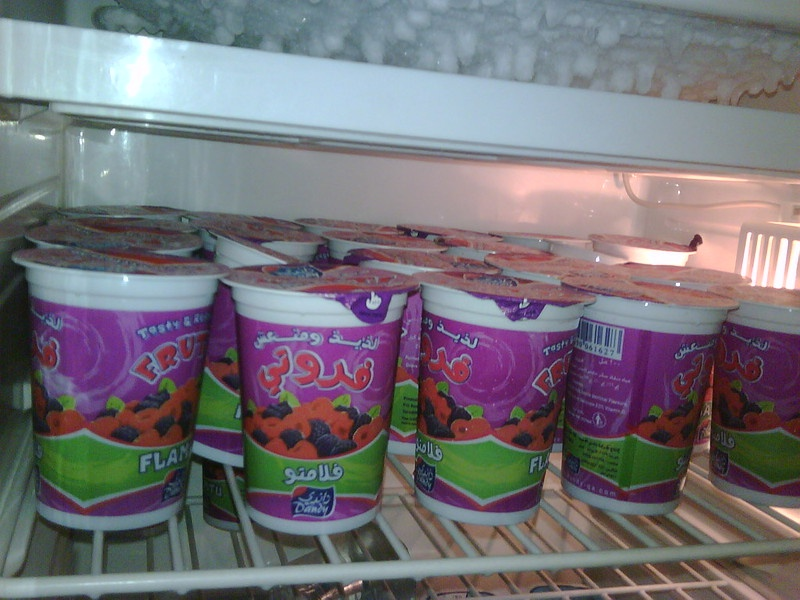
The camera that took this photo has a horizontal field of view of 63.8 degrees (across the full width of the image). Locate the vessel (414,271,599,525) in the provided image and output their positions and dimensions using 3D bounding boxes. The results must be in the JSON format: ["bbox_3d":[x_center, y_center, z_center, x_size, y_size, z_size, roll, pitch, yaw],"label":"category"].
[{"bbox_3d":[0.130,0.136,0.883,0.228,0.315,0.135,5,16,15],"label":"vessel"}]

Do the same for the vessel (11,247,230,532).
[{"bbox_3d":[-0.343,0.115,0.808,0.228,0.331,0.106,-4,16,-17],"label":"vessel"}]

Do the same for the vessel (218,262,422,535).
[{"bbox_3d":[-0.106,0.130,0.841,0.244,0.317,0.137,1,15,1],"label":"vessel"}]
